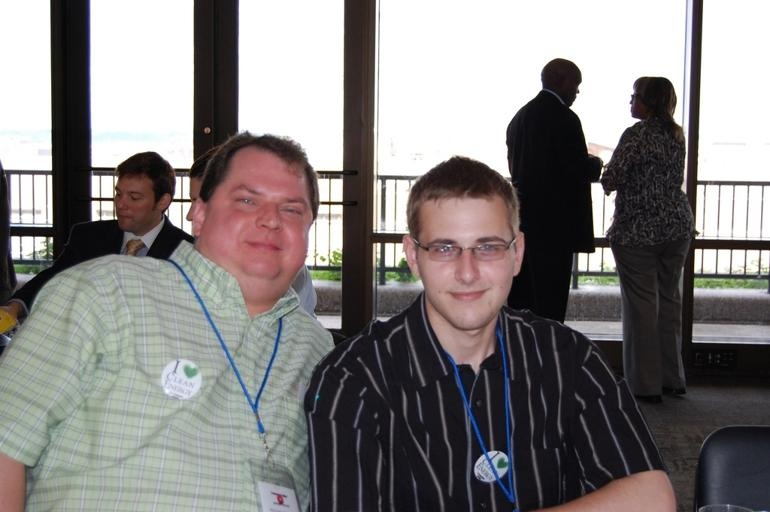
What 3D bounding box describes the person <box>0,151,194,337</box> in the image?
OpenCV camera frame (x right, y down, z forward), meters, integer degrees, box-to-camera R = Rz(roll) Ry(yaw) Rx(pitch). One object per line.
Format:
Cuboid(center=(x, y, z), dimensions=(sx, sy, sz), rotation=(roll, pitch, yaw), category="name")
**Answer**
Cuboid(center=(-1.672, -0.148, 4.032), dimensions=(0.798, 1.202, 0.687), rotation=(25, 7, 11), category="person")
